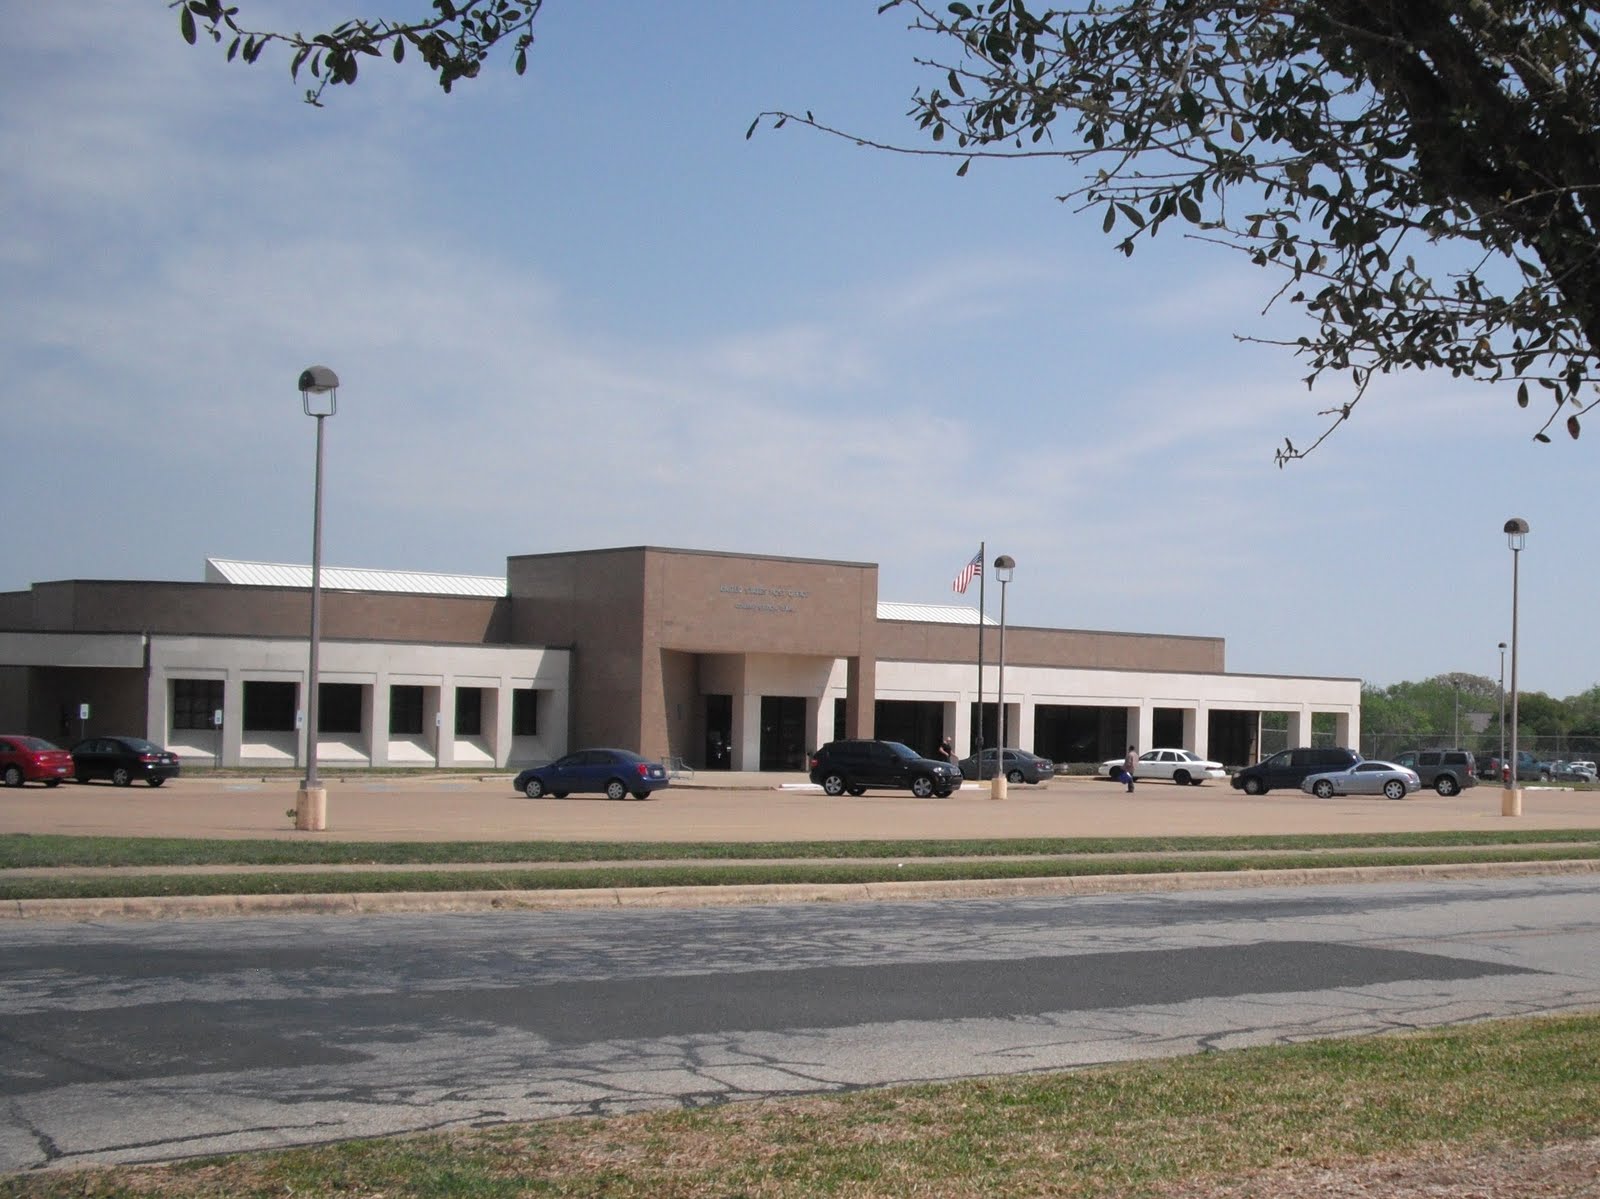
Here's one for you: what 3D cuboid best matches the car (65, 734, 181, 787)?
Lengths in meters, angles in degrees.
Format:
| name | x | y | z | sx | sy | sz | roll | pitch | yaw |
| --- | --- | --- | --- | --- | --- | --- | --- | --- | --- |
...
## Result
| name | x | y | z | sx | sy | sz | roll | pitch | yaw |
| --- | --- | --- | --- | --- | --- | --- | --- | --- | --- |
| car | -16.527 | 4.022 | 54.171 | 2.442 | 0.741 | 1.095 | 4 | 1 | 27 |

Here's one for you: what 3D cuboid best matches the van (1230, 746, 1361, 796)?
| name | x | y | z | sx | sy | sz | roll | pitch | yaw |
| --- | --- | --- | --- | --- | --- | --- | --- | --- | --- |
| van | 14.295 | 5.065 | 64.370 | 3.405 | 1.074 | 1.401 | -4 | -4 | 25 |

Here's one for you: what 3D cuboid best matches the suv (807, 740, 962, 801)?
| name | x | y | z | sx | sy | sz | roll | pitch | yaw |
| --- | --- | --- | --- | --- | --- | --- | --- | --- | --- |
| suv | 2.167 | 4.429 | 56.972 | 3.510 | 1.203 | 1.562 | -2 | -4 | 19 |

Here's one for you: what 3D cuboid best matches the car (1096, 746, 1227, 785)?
| name | x | y | z | sx | sy | sz | roll | pitch | yaw |
| --- | --- | --- | --- | --- | --- | --- | --- | --- | --- |
| car | 12.920 | 5.818 | 76.351 | 2.548 | 1.309 | 4.233 | 0 | -6 | 8 |

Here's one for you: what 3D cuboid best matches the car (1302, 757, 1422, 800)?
| name | x | y | z | sx | sy | sz | roll | pitch | yaw |
| --- | --- | --- | --- | --- | --- | --- | --- | --- | --- |
| car | 15.793 | 5.145 | 62.056 | 2.646 | 0.829 | 1.194 | 3 | -4 | 18 |

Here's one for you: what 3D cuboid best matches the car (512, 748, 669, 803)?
| name | x | y | z | sx | sy | sz | roll | pitch | yaw |
| --- | --- | --- | --- | --- | --- | --- | --- | --- | --- |
| car | -4.761 | 4.182 | 51.736 | 3.106 | 0.936 | 1.383 | 2 | -4 | 16 |
